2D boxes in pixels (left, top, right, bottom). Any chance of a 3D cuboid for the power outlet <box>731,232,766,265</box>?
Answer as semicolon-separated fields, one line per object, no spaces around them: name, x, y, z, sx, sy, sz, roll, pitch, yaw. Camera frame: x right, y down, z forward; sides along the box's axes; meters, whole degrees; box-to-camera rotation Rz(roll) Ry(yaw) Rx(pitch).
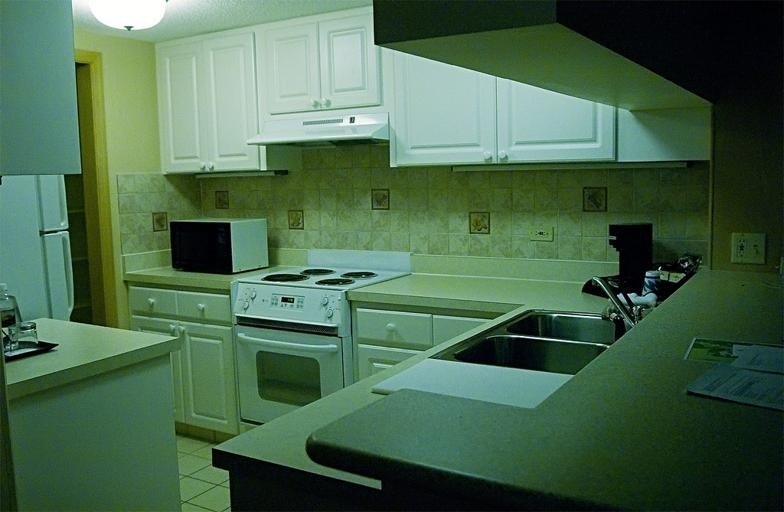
power outlet;1.573;-0.035;2.910;0.155;0.151;0.029;2;6;34

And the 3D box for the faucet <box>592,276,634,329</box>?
faucet;0.773;0.160;2.284;0.071;0.069;0.284;12;12;-11

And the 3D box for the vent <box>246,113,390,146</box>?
vent;-0.421;-0.689;3.614;0.830;0.161;0.167;5;13;25

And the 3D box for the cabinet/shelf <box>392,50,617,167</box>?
cabinet/shelf;0.531;-0.646;3.369;1.188;0.669;0.629;4;3;26

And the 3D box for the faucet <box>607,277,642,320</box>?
faucet;0.881;0.165;2.504;0.047;0.116;0.088;-30;21;-19

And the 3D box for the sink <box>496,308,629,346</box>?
sink;0.693;0.278;2.553;0.246;0.078;0.199;1;7;29

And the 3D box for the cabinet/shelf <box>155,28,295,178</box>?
cabinet/shelf;-0.975;-0.927;3.955;0.903;0.728;0.453;3;6;29

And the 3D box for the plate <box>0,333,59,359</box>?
plate;-1.308;0.320;2.394;0.167;0.054;0.171;-6;13;-28

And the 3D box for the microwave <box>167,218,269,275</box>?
microwave;-1.073;-0.055;3.993;0.546;0.307;0.370;2;3;31
